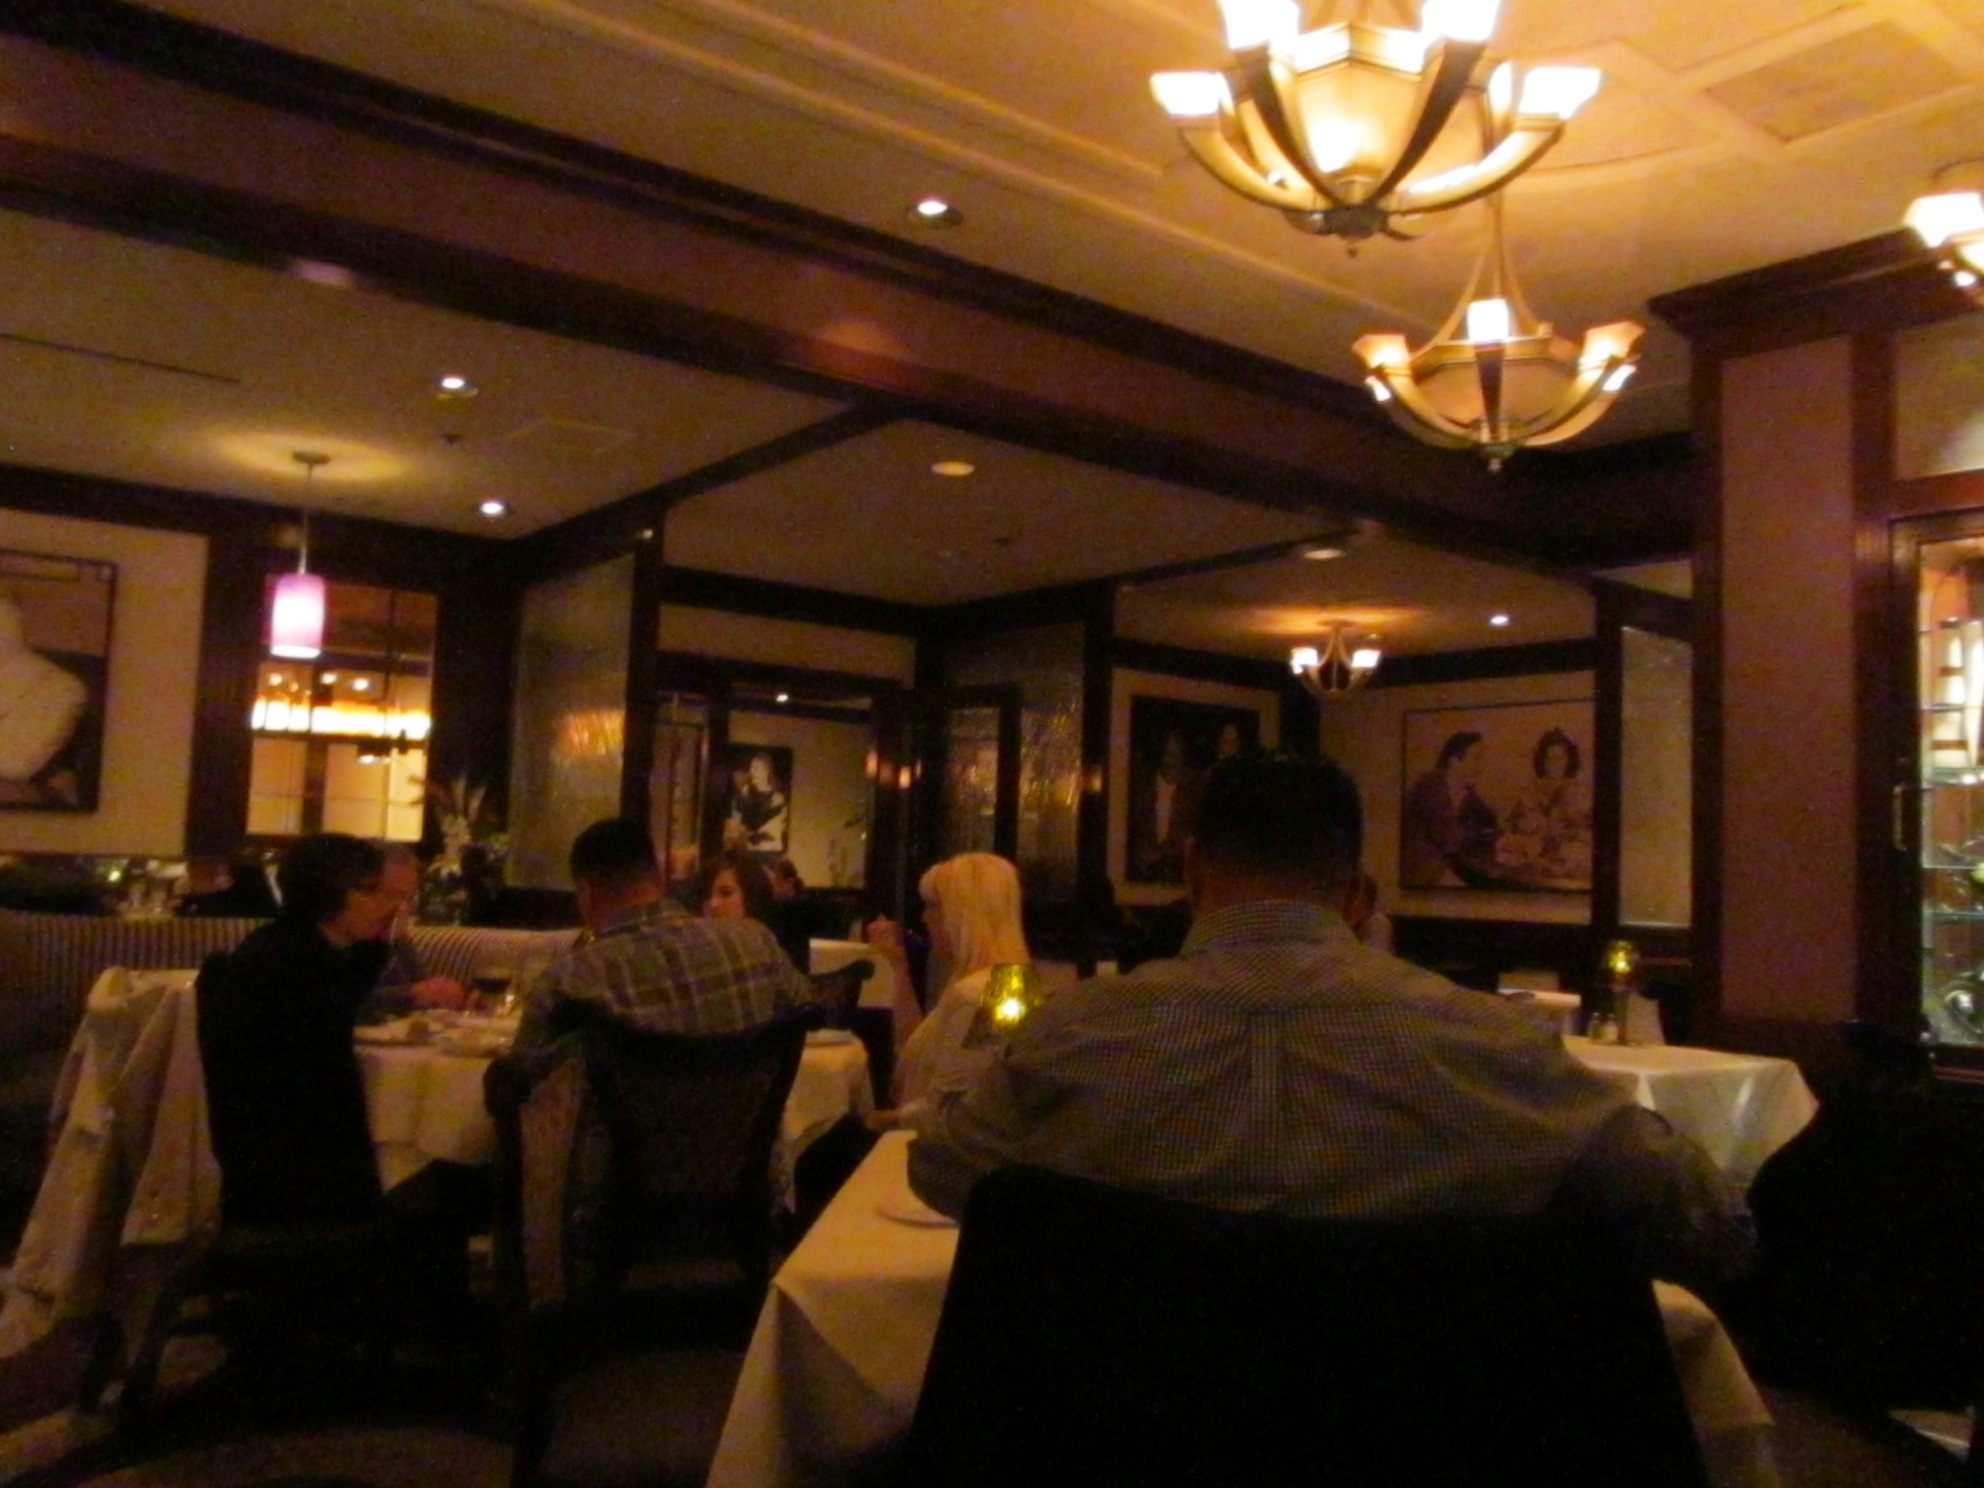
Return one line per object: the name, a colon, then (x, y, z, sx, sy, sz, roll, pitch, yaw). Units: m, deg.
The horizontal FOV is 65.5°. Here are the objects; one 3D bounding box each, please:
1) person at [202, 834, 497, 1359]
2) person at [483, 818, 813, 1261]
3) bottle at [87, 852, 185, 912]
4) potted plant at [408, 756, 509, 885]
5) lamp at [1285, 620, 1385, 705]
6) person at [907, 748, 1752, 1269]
person: (-1.609, 1.000, 3.913, 0.570, 1.048, 0.887, -14, 9, -21)
person: (-0.667, 0.634, 3.339, 0.582, 0.903, 0.814, -11, 9, -6)
bottle: (-4.040, 0.667, 7.330, 0.246, 0.194, 0.210, 11, -2, 4)
potted plant: (-2.995, 0.414, 8.826, 0.653, 0.648, 0.583, -2, -2, 1)
lamp: (2.478, -0.579, 10.996, 0.604, 0.460, 0.586, 1, 1, 27)
person: (0.406, 0.405, 1.972, 0.889, 0.708, 0.684, -14, 9, -23)
